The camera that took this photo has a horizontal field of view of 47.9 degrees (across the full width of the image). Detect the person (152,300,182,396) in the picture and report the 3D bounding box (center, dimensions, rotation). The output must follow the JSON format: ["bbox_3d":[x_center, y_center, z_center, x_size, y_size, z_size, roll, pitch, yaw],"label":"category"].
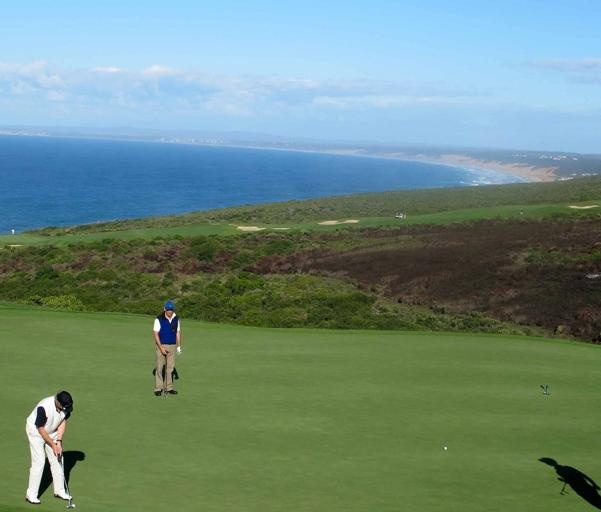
[{"bbox_3d":[-2.811,1.871,13.891,0.722,1.920,0.745,-10,11,-9],"label":"person"}]

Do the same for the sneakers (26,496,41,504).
[{"bbox_3d":[-4.272,3.907,10.743,0.267,0.089,0.094,-10,-15,37],"label":"sneakers"}]

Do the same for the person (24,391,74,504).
[{"bbox_3d":[-4.077,3.077,10.895,0.992,1.679,0.763,-10,11,-17],"label":"person"}]

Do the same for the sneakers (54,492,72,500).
[{"bbox_3d":[-3.809,3.868,10.811,0.292,0.096,0.100,0,-1,7],"label":"sneakers"}]
